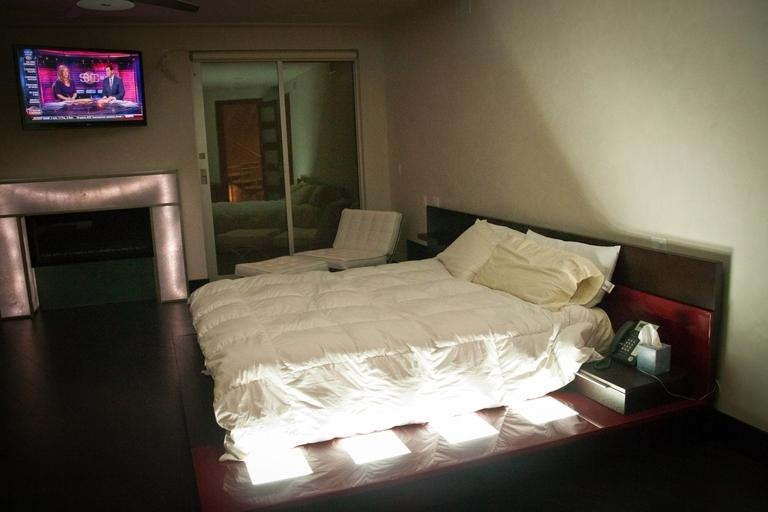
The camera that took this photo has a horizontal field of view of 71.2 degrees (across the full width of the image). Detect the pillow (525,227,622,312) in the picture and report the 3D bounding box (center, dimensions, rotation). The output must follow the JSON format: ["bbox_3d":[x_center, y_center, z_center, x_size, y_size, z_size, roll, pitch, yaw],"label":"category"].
[{"bbox_3d":[1.493,0.100,3.850,0.480,0.463,0.141,6,-16,44],"label":"pillow"}]

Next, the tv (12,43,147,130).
[{"bbox_3d":[-3.114,-1.755,5.583,1.328,0.781,0.101,0,12,2],"label":"tv"}]

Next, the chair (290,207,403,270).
[{"bbox_3d":[-0.422,-0.209,6.138,1.082,0.587,1.142,2,9,22],"label":"chair"}]

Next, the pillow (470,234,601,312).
[{"bbox_3d":[1.152,0.091,4.027,0.501,0.260,0.964,-33,37,-27],"label":"pillow"}]

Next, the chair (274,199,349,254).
[{"bbox_3d":[-0.956,-0.420,7.138,0.698,0.625,0.739,6,11,43],"label":"chair"}]
